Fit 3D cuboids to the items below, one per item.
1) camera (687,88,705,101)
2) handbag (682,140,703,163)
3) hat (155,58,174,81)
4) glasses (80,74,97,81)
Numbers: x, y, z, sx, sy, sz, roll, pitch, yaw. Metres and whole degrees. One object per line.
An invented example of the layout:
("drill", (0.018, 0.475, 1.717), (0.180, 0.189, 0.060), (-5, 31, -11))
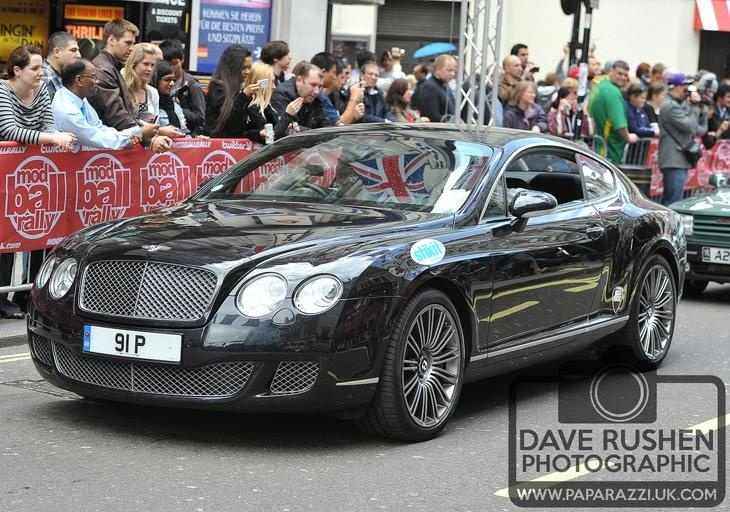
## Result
("camera", (6.006, -2.944, 14.269), (0.227, 0.260, 0.128), (1, 19, -2))
("handbag", (5.767, -1.825, 13.826), (0.151, 0.298, 0.474), (0, 21, 37))
("hat", (-2.338, -2.161, 9.215), (0.183, 0.203, 0.238), (8, 18, 37))
("glasses", (-2.698, -1.734, 7.670), (0.080, 0.074, 0.192), (5, 7, 15))
